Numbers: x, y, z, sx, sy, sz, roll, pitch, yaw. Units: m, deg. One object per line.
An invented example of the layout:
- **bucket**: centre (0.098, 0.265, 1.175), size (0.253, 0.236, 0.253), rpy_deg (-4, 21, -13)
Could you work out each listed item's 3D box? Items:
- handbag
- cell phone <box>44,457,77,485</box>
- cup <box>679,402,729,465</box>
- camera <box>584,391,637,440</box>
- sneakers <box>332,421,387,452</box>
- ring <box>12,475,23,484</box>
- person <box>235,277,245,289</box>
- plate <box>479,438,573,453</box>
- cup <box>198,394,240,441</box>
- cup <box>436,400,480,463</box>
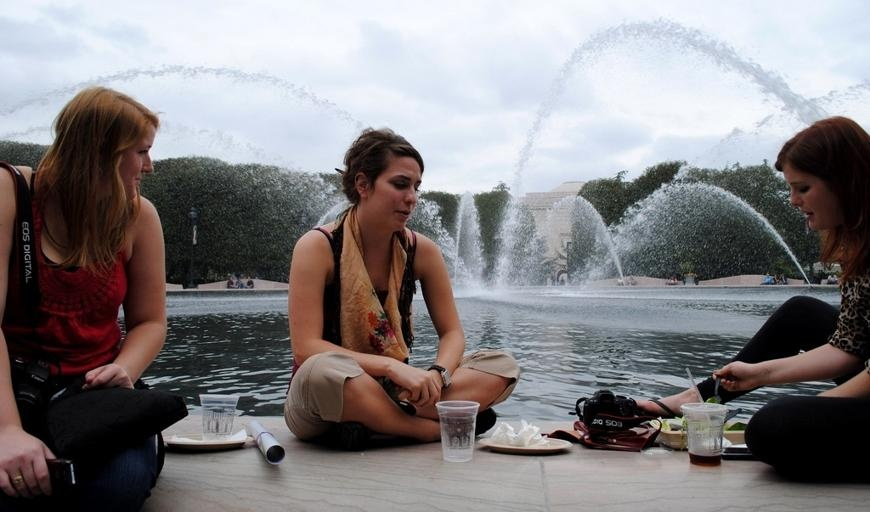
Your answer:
- **handbag**: centre (-1.374, 0.749, 2.609), size (0.572, 0.360, 0.252), rpy_deg (-1, -1, -11)
- **cell phone**: centre (-1.487, 0.856, 2.420), size (0.101, 0.108, 0.024), rpy_deg (-1, -1, -3)
- **cup**: centre (1.334, 0.906, 3.185), size (0.320, 0.288, 0.297), rpy_deg (-1, -4, 0)
- **camera**: centre (1.010, 0.892, 3.551), size (0.385, 0.197, 0.249), rpy_deg (0, -2, 1)
- **sneakers**: centre (-0.430, 0.989, 3.391), size (0.267, 0.161, 0.111), rpy_deg (-1, -1, -10)
- **ring**: centre (-1.627, 0.871, 2.385), size (0.034, 0.020, 0.030), rpy_deg (-1, -6, 0)
- **person**: centre (-10.816, 1.505, 33.741), size (0.615, 0.842, 0.383), rpy_deg (0, -9, -21)
- **plate**: centre (0.499, 1.052, 3.407), size (0.525, 0.062, 0.203), rpy_deg (-1, -1, 7)
- **cup**: centre (-1.224, 0.889, 3.451), size (0.294, 0.248, 0.257), rpy_deg (3, -9, -22)
- **cup**: centre (0.113, 0.929, 3.257), size (0.321, 0.287, 0.276), rpy_deg (2, -10, -16)
